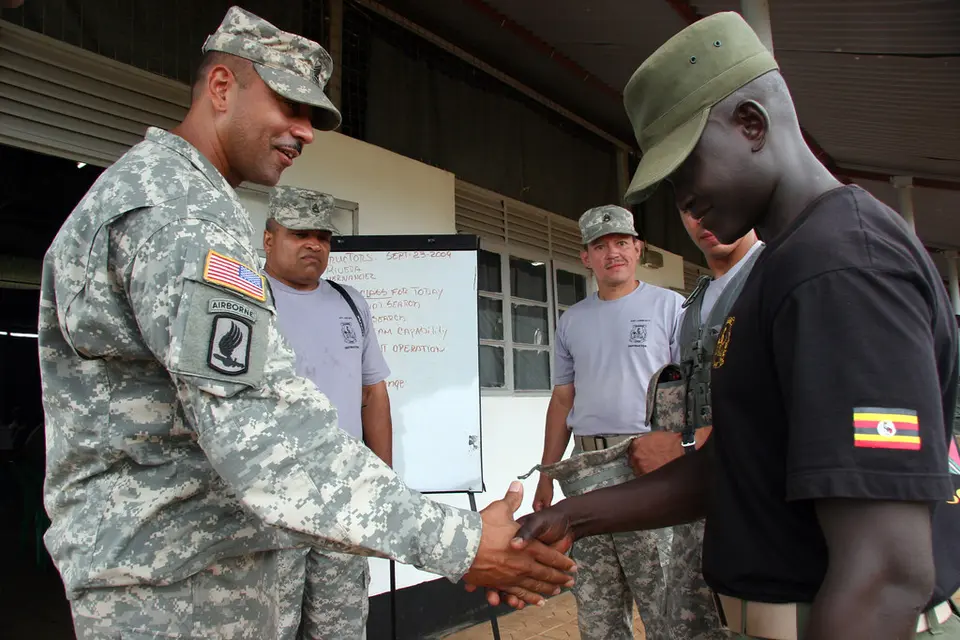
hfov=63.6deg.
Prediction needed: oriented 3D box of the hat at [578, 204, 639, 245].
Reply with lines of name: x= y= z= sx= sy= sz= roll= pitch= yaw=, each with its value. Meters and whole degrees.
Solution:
hat: x=0.654 y=-0.490 z=4.041 sx=0.198 sy=0.135 sz=0.255 roll=-8 pitch=-8 yaw=0

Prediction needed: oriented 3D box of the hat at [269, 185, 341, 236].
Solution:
hat: x=-0.833 y=-0.499 z=3.560 sx=0.262 sy=0.140 sz=0.205 roll=0 pitch=-3 yaw=45
